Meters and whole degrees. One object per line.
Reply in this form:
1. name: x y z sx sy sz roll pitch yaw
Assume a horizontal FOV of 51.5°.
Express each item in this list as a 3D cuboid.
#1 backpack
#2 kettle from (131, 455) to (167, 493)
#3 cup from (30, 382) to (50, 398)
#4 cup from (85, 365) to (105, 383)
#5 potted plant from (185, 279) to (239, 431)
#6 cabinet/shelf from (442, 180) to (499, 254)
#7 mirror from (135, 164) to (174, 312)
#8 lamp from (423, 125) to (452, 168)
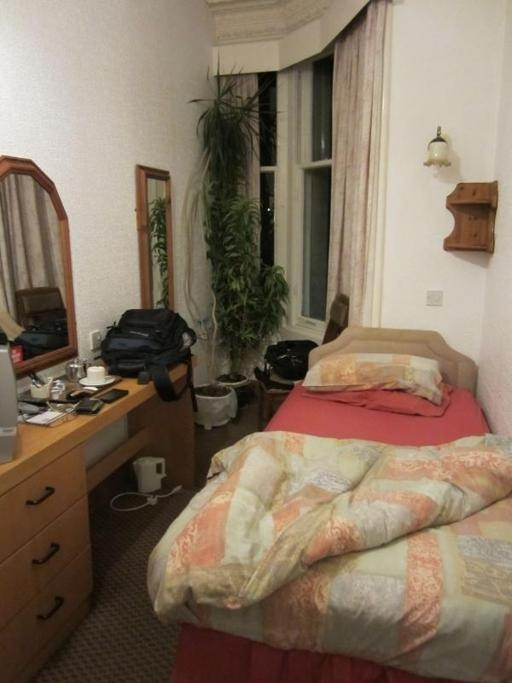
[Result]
1. backpack: -0.580 0.059 2.536 0.543 0.213 0.570 -5 42 -4
2. kettle: -0.568 0.697 2.812 0.120 0.199 0.209 4 4 43
3. cup: -0.804 0.184 1.971 0.058 0.047 0.058 1 6 0
4. cup: -0.658 0.136 2.186 0.072 0.049 0.053 7 6 25
5. potted plant: -0.289 0.143 3.587 0.305 0.848 0.295 -13 21 -29
6. cabinet/shelf: 1.185 -0.664 2.855 0.152 0.380 0.324 -9 15 -34
7. mirror: -0.562 -0.551 3.078 0.037 0.786 0.396 -10 23 -34
8. lamp: 0.972 -1.044 2.829 0.145 0.210 0.224 3 13 19
